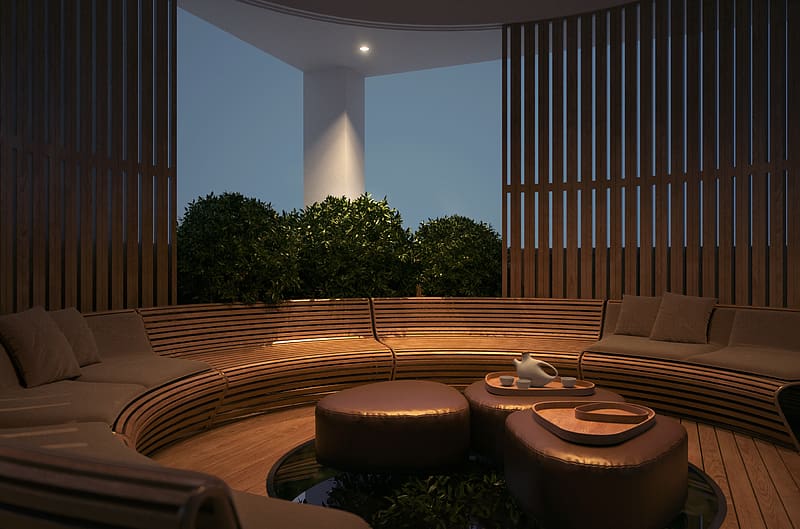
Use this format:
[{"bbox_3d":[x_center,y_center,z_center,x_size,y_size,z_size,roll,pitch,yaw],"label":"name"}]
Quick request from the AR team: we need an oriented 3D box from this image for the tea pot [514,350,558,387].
[{"bbox_3d":[1.208,0.919,5.146,0.443,0.364,0.335,3,0,28],"label":"tea pot"}]

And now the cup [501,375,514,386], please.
[{"bbox_3d":[0.952,1.016,5.032,0.079,0.046,0.084,-2,2,0],"label":"cup"}]

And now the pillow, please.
[{"bbox_3d":[2.851,0.518,6.153,0.453,0.521,0.947,15,7,-20],"label":"pillow"}]
